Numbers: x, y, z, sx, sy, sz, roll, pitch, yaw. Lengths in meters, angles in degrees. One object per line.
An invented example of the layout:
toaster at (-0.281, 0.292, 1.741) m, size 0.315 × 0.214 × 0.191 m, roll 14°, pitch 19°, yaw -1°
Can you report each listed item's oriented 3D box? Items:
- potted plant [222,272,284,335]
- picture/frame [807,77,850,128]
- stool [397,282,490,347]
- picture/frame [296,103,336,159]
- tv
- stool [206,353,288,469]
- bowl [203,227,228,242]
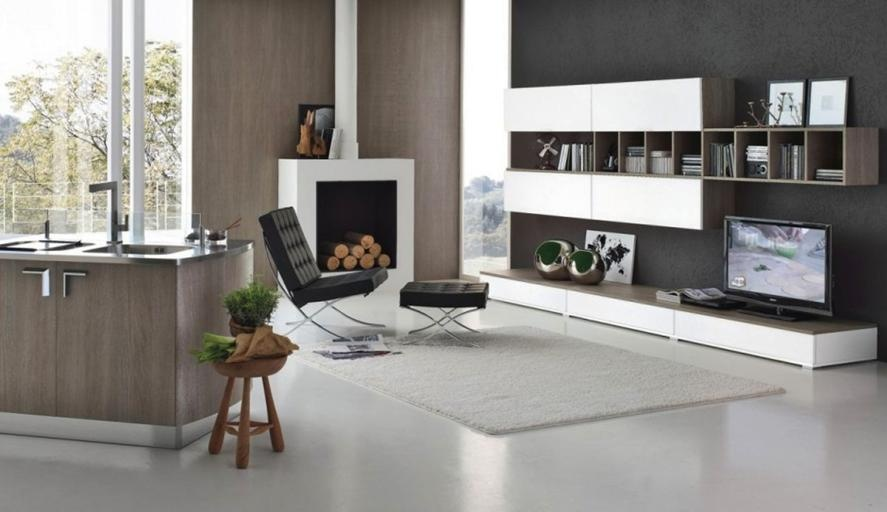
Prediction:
potted plant at (-1.370, 0.335, 4.765) m, size 0.489 × 0.425 × 0.368 m, roll 2°, pitch 12°, yaw -8°
picture/frame at (3.858, -1.532, 6.579) m, size 0.380 × 0.471 × 0.194 m, roll 6°, pitch 14°, yaw 26°
stool at (0.006, 0.578, 7.089) m, size 0.840 × 0.449 × 0.794 m, roll 1°, pitch 2°, yaw 3°
picture/frame at (-1.845, -1.803, 9.581) m, size 0.535 × 0.758 × 0.408 m, roll -2°, pitch 12°, yaw -9°
tv at (3.444, 0.137, 6.652) m, size 0.284 × 0.778 × 1.169 m, roll 2°, pitch 1°, yaw -36°
stool at (-1.439, 1.025, 4.699) m, size 0.501 × 0.742 × 0.665 m, roll -8°, pitch 14°, yaw -34°
bowl at (-1.871, -0.160, 5.408) m, size 0.253 × 0.133 × 0.234 m, roll 0°, pitch 4°, yaw 0°
